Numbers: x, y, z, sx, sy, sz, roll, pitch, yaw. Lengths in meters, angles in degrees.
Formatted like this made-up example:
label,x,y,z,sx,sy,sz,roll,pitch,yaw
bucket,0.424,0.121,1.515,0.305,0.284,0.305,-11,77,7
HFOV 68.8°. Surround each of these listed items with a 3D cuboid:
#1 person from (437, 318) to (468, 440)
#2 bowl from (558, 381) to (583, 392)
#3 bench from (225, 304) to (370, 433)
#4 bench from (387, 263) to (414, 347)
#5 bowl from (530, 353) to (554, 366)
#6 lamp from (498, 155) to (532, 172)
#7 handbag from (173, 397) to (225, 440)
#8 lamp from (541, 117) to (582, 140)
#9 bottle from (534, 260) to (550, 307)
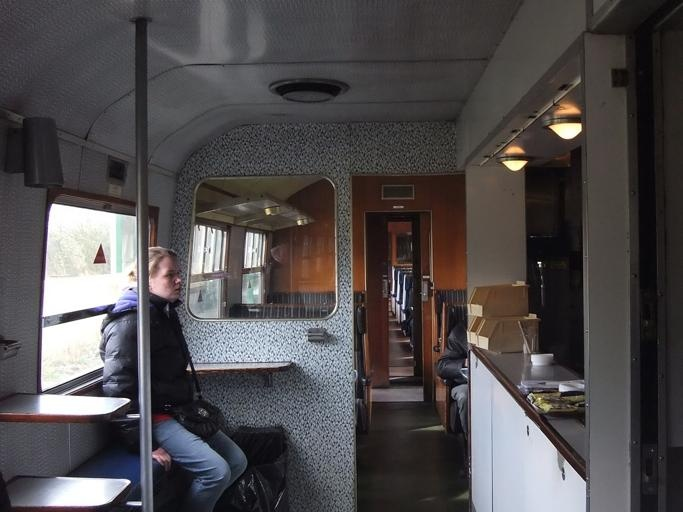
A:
label,x,y,z,sx,sy,sz,roll,pitch,yaw
person,1.085,1.198,4.951,0.293,0.967,0.826,-1,3,12
bowl,1.288,0.739,2.818,0.085,0.022,0.087,-2,-2,0
bench,-0.440,0.958,4.247,1.015,1.048,0.254,1,4,9
bench,1.245,0.948,10.599,0.366,1.536,2.958,-1,4,5
bowl,1.357,0.706,3.419,0.097,0.052,0.102,-1,-2,0
lamp,1.408,-0.759,4.104,0.222,0.099,0.352,-1,4,20
handbag,-1.008,1.152,3.533,0.289,0.131,0.249,18,-3,37
lamp,1.378,-0.817,3.162,0.206,0.102,0.218,0,-3,0
bottle,2.234,0.317,5.624,0.125,0.527,0.038,-1,3,17
